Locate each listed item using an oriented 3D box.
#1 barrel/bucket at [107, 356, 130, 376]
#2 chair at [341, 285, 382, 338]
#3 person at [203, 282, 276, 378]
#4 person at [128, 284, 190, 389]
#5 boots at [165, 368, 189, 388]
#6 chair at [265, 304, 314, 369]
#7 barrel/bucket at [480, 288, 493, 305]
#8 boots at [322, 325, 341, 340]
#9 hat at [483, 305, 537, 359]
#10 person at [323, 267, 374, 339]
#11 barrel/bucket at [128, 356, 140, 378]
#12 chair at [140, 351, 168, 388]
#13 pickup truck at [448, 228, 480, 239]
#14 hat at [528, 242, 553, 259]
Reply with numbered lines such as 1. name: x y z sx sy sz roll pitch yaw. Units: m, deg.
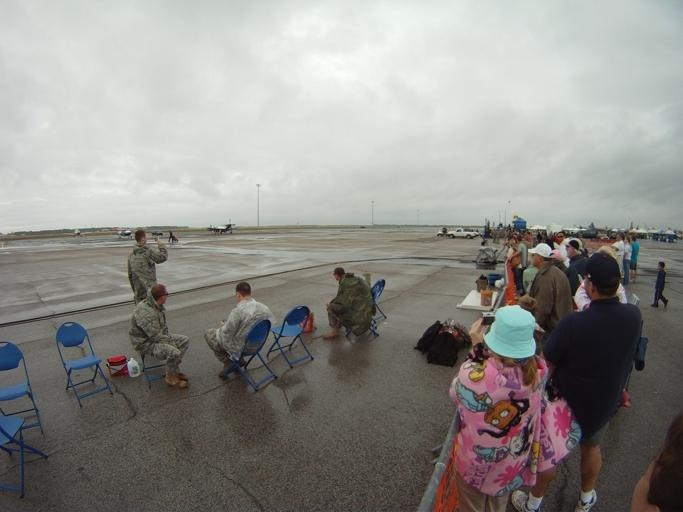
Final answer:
1. barrel/bucket: -3.967 1.634 6.639 0.389 0.361 0.277 1 3 -18
2. chair: 0.578 0.760 8.618 0.873 1.141 0.802 11 34 31
3. person: -1.774 0.984 6.428 1.120 1.532 0.528 5 11 30
4. person: -3.047 1.038 6.350 1.052 1.568 0.495 2 10 17
5. boots: -2.737 1.739 6.199 0.353 0.236 0.350 -6 11 -27
6. chair: -1.011 1.151 7.165 0.781 1.002 0.612 6 8 44
7. barrel/bucket: 3.814 0.754 9.884 0.329 0.401 0.332 0 0 0
8. boots: -0.257 1.339 8.096 0.428 0.320 0.170 4 -3 -14
9. hat: 1.624 0.597 3.533 0.491 0.309 0.590 4 1 18
10. person: 0.181 0.641 8.015 0.914 1.390 0.869 -5 6 17
11. barrel/bucket: -3.673 1.677 6.585 0.227 0.354 0.210 4 12 -1
12. chair: -3.420 1.731 6.691 0.765 0.329 0.416 25 14 36
13. pickup truck: 16.650 -4.383 51.258 3.639 1.348 1.854 3 7 15
14. hat: 3.149 -0.250 5.910 0.227 0.176 0.321 3 12 -22
